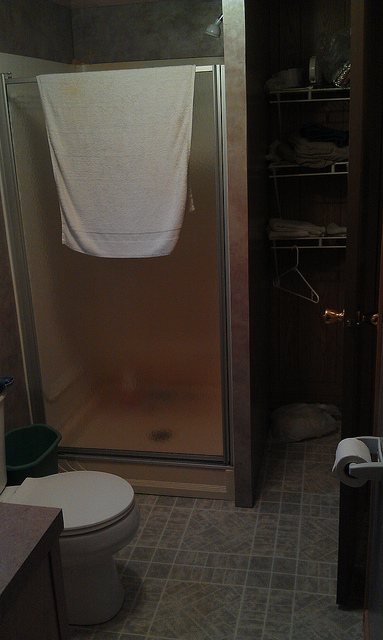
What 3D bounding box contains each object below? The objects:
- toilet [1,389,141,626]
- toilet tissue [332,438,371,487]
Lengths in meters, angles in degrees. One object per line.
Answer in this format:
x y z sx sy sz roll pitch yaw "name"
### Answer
-0.287 0.677 1.681 0.507 0.671 0.585 -1 15 -11 "toilet"
0.210 0.183 0.659 0.048 0.055 0.083 0 11 11 "toilet tissue"
